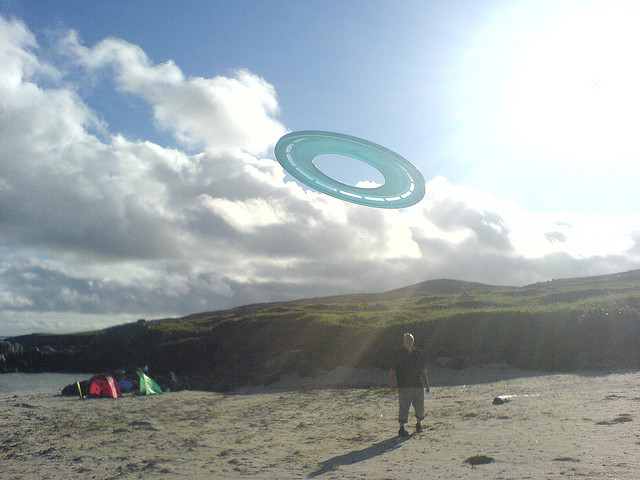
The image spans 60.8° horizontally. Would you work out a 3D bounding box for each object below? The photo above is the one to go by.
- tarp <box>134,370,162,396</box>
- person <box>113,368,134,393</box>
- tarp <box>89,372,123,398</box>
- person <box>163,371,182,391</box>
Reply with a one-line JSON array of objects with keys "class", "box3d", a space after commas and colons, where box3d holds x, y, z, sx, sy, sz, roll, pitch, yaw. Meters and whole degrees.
[{"class": "tarp", "box3d": [-12.002, 10.264, 38.235, 1.744, 1.985, 1.560, -13, -12, -1]}, {"class": "person", "box3d": [-14.719, 10.874, 40.589, 1.560, 0.606, 1.543, 37, 4, -32]}, {"class": "tarp", "box3d": [-14.434, 10.037, 37.117, 1.621, 1.460, 1.739, 0, -7, 6]}, {"class": "person", "box3d": [-12.220, 11.974, 45.489, 1.323, 1.111, 2.153, -4, -3, -4]}]
